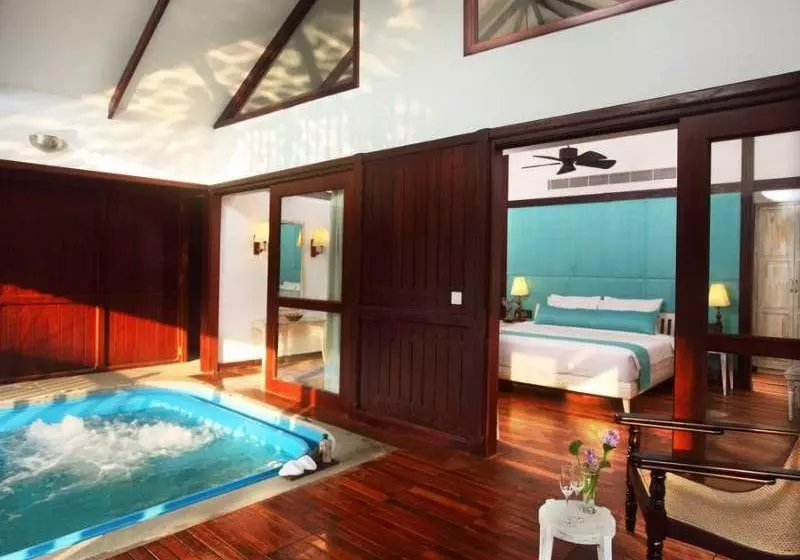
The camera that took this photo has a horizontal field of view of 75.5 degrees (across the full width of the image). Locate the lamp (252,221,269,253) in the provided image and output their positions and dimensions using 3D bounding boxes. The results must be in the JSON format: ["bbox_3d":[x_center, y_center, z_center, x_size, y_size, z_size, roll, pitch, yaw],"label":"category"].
[{"bbox_3d":[-2.101,-0.611,7.702,0.217,0.477,0.151,-1,9,-4],"label":"lamp"}]

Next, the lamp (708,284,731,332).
[{"bbox_3d":[2.234,0.198,3.629,0.068,0.357,0.139,-6,10,-33],"label":"lamp"}]

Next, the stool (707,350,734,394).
[{"bbox_3d":[2.350,0.675,3.697,0.198,0.281,0.199,3,-5,34],"label":"stool"}]

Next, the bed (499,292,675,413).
[{"bbox_3d":[2.401,0.817,7.207,2.480,1.009,2.544,1,2,34],"label":"bed"}]

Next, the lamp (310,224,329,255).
[{"bbox_3d":[-0.928,-0.422,5.854,0.307,0.331,0.072,8,12,44],"label":"lamp"}]

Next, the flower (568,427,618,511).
[{"bbox_3d":[1.192,1.229,3.220,0.284,0.469,0.280,0,-31,27],"label":"flower"}]
